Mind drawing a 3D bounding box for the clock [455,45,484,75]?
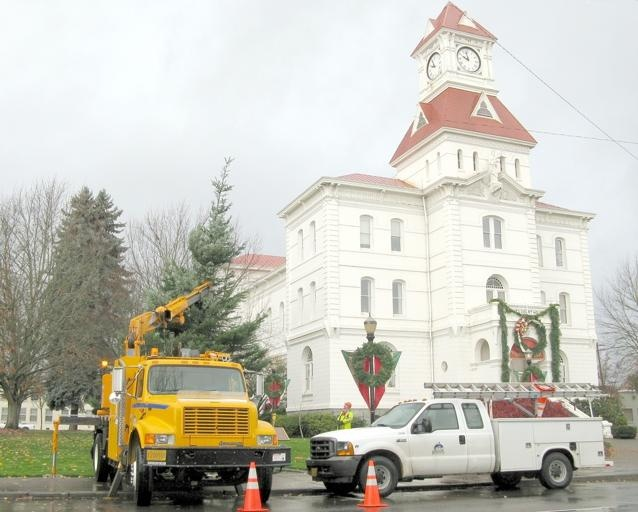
[{"bbox_3d":[9.403,-12.237,48.638,1.975,2.202,0.204,4,-20,-36],"label":"clock"}]

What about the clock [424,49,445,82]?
[{"bbox_3d":[7.441,-12.019,49.066,0.259,2.355,2.158,6,-11,-14],"label":"clock"}]

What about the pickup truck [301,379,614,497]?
[{"bbox_3d":[4.293,5.201,21.664,7.439,3.045,2.841,-2,-20,-2],"label":"pickup truck"}]

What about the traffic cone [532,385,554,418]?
[{"bbox_3d":[6.500,4.230,22.497,0.693,1.224,0.770,2,-8,6],"label":"traffic cone"}]

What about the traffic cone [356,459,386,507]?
[{"bbox_3d":[1.203,5.313,18.020,0.836,1.338,0.881,2,-10,-1],"label":"traffic cone"}]
